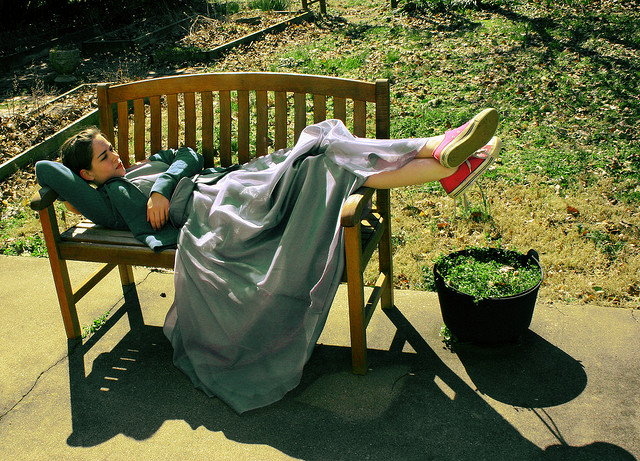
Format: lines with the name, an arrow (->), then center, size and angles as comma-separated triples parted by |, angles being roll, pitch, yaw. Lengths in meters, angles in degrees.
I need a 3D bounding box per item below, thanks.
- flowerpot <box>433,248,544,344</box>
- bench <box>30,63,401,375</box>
flowerpot -> 1.203, 0.515, 4.191 | 0.718, 0.561, 0.717 | 8, 21, 18
bench -> -0.756, -0.125, 4.277 | 2.515, 2.056, 1.080 | 5, 20, 23
